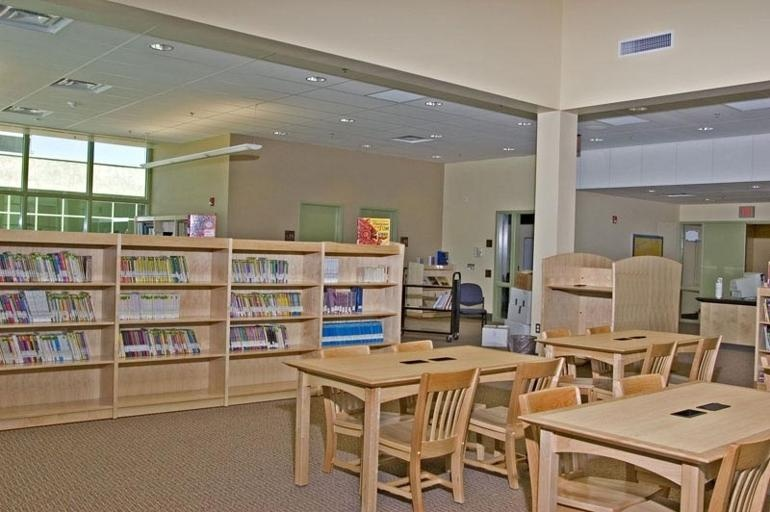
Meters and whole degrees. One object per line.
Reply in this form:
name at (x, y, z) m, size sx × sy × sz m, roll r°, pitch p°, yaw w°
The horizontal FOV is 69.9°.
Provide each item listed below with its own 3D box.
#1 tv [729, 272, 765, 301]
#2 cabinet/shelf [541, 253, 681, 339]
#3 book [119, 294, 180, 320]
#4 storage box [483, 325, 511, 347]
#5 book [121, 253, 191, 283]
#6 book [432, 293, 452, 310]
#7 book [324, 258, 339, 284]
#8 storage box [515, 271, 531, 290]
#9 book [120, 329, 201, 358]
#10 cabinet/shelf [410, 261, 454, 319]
tv at (7.928, 0.678, 12.086) m, size 0.461 × 0.515 × 0.745 m, roll 6°, pitch 6°, yaw 40°
cabinet/shelf at (3.503, 0.636, 8.508) m, size 1.808 × 1.304 × 1.133 m, roll -1°, pitch 6°, yaw -37°
book at (-2.848, 0.619, 6.667) m, size 0.653 × 0.310 × 0.150 m, roll 1°, pitch 6°, yaw -19°
storage box at (2.252, 1.625, 11.016) m, size 0.521 × 0.318 × 0.275 m, roll 3°, pitch 7°, yaw 40°
book at (-2.778, 0.174, 6.668) m, size 0.751 × 0.332 × 0.266 m, roll 1°, pitch 5°, yaw -19°
book at (1.252, 0.995, 11.979) m, size 0.403 × 0.315 × 0.124 m, roll 1°, pitch -20°, yaw 37°
book at (-0.744, 0.219, 7.624) m, size 0.267 × 0.345 × 0.423 m, roll 0°, pitch -2°, yaw 7°
storage box at (2.809, 0.510, 11.189) m, size 0.265 × 0.260 × 0.431 m, roll -1°, pitch 1°, yaw -21°
book at (-2.771, 1.047, 6.795) m, size 0.891 × 0.351 × 0.309 m, roll 1°, pitch 5°, yaw -21°
cabinet/shelf at (1.148, 0.902, 14.883) m, size 0.812 × 1.101 × 1.425 m, roll 3°, pitch -4°, yaw 39°
